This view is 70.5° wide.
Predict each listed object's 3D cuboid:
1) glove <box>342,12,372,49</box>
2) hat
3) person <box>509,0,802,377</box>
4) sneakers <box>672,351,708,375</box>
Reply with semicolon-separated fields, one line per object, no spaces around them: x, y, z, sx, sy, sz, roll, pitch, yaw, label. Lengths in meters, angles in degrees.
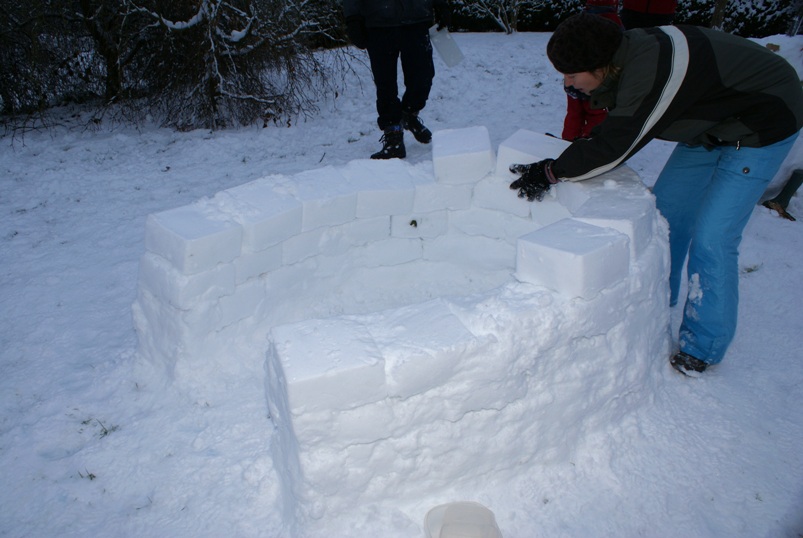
-0.395;-2.194;5.292;0.105;0.285;0.213;-26;20;-18;glove
1.035;-1.252;3.221;0.404;0.300;0.235;9;40;15;hat
1.679;-0.562;3.624;1.355;1.928;0.958;23;46;29;person
1.833;0.609;3.616;0.125;0.075;0.202;-28;31;-27;sneakers
